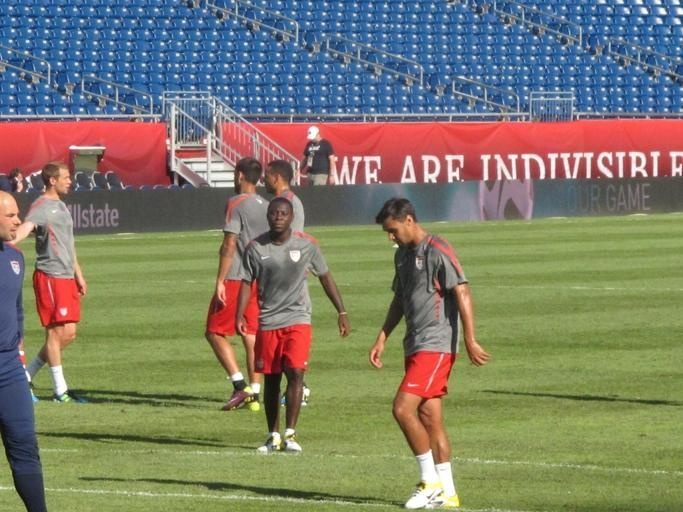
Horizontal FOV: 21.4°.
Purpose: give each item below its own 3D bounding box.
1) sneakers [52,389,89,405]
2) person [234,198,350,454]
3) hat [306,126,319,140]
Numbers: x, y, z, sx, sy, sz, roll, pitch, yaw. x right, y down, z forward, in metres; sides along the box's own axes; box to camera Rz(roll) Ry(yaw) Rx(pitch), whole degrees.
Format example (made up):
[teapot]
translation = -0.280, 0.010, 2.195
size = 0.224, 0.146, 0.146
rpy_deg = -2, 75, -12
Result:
[sneakers]
translation = -4.389, 2.264, 29.179
size = 0.636, 0.260, 0.211
rpy_deg = 0, 0, -2
[person]
translation = -0.845, 1.016, 27.503
size = 1.505, 3.809, 0.705
rpy_deg = -2, 6, -4
[hat]
translation = -0.677, -3.034, 44.222
size = 0.317, 0.231, 0.490
rpy_deg = 1, 23, 14
